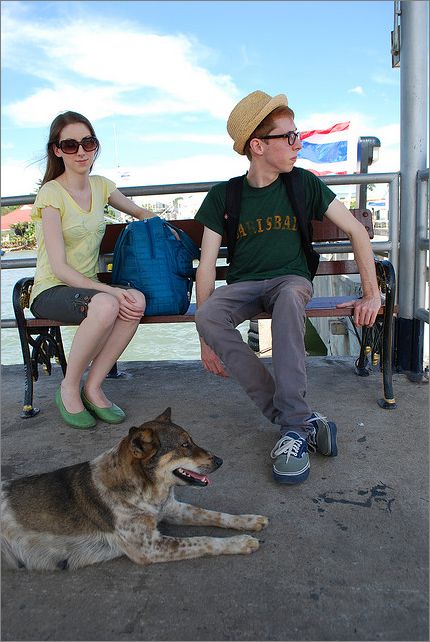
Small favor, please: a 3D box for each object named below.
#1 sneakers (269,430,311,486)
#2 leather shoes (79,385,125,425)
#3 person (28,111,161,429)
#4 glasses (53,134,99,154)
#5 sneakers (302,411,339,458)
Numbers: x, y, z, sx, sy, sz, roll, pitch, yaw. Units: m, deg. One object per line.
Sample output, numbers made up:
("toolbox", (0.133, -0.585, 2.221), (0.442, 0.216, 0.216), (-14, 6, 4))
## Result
("sneakers", (0.328, 0.593, 1.977), (0.150, 0.166, 0.200), (-2, 10, 6))
("leather shoes", (-0.623, 0.523, 2.719), (0.321, 0.131, 0.130), (21, 21, 21))
("person", (-0.783, -0.318, 2.731), (0.690, 1.784, 0.790), (-5, 10, -13))
("glasses", (-0.796, -1.013, 2.663), (0.253, 0.113, 0.134), (-6, 10, -18))
("sneakers", (0.504, 0.547, 2.141), (0.136, 0.198, 0.113), (-1, 10, 12))
